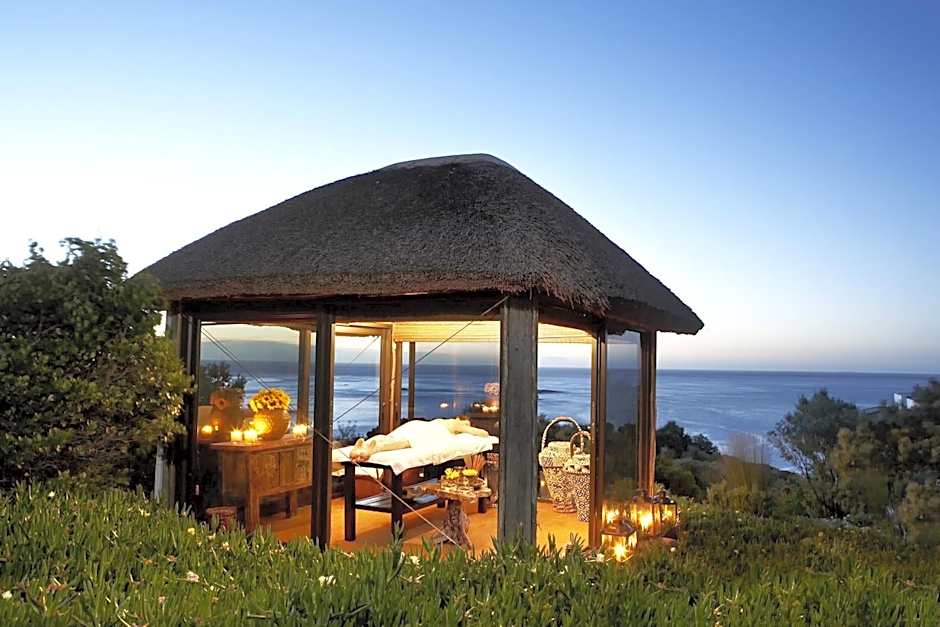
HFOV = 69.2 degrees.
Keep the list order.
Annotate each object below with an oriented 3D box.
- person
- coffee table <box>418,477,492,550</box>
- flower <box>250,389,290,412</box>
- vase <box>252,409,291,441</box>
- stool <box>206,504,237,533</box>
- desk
[{"bbox_3d":[-0.744,1.650,9.057,1.903,0.424,0.941,-4,-11,-40],"label":"person"},{"bbox_3d":[-0.203,2.373,8.071,0.538,0.966,0.851,17,11,32],"label":"coffee table"},{"bbox_3d":[-2.408,1.048,8.173,0.304,0.195,0.321,0,-4,7],"label":"flower"},{"bbox_3d":[-2.391,1.330,8.206,0.347,0.354,0.360,-1,-8,12],"label":"vase"},{"bbox_3d":[-2.883,2.371,7.819,0.353,0.222,0.507,3,9,-17],"label":"stool"},{"bbox_3d":[-2.474,1.990,8.024,1.124,0.957,0.588,1,9,-24],"label":"desk"}]
